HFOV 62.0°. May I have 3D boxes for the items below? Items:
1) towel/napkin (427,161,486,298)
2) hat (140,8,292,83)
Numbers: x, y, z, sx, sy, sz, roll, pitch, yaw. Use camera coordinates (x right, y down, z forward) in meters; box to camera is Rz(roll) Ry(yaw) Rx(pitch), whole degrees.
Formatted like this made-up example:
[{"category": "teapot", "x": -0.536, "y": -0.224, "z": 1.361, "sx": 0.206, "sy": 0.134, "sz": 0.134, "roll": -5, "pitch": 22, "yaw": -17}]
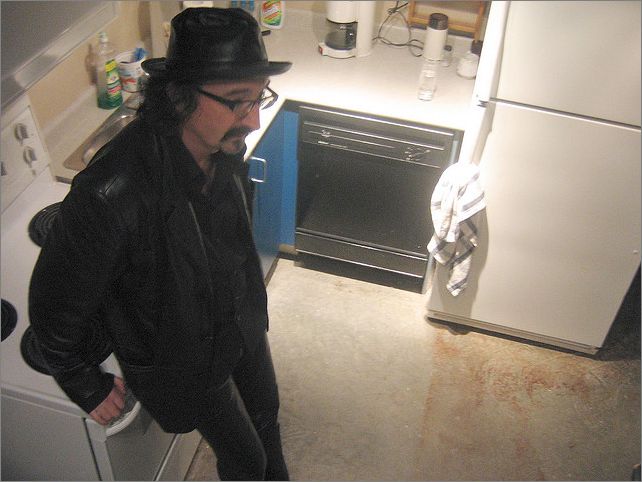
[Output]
[{"category": "towel/napkin", "x": 0.606, "y": -0.042, "z": 2.393, "sx": 0.222, "sy": 0.629, "sz": 0.199, "roll": 4, "pitch": 15, "yaw": 16}, {"category": "hat", "x": -0.270, "y": -0.447, "z": 1.299, "sx": 0.220, "sy": 0.086, "sz": 0.199, "roll": -2, "pitch": 33, "yaw": 8}]
